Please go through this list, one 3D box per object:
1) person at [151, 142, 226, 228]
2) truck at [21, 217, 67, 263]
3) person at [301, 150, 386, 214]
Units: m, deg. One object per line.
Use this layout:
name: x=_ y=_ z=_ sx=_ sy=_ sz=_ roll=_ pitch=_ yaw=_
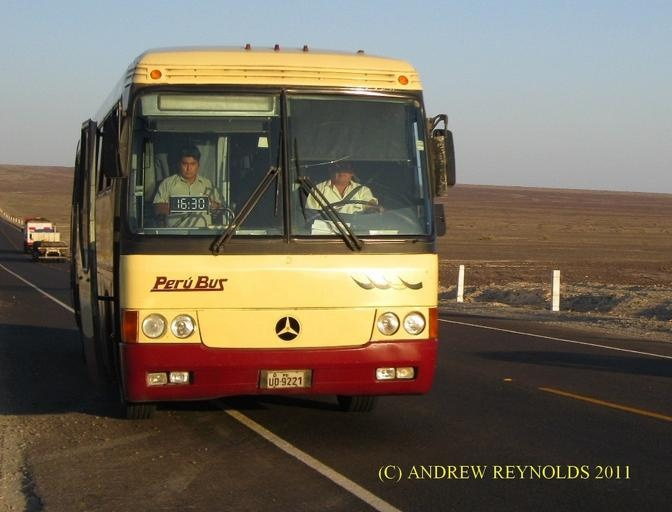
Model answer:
person: x=-1.482 y=-0.636 z=6.813 sx=0.603 sy=0.907 sz=0.489 roll=6 pitch=-7 yaw=-40
truck: x=-21.924 y=-0.895 z=50.262 sx=2.669 sy=3.190 sz=6.941 roll=-1 pitch=8 yaw=-24
person: x=0.053 y=-0.595 z=7.025 sx=0.917 sy=0.743 sz=0.503 roll=0 pitch=-3 yaw=-19
